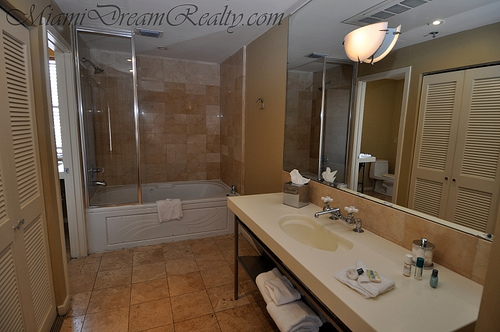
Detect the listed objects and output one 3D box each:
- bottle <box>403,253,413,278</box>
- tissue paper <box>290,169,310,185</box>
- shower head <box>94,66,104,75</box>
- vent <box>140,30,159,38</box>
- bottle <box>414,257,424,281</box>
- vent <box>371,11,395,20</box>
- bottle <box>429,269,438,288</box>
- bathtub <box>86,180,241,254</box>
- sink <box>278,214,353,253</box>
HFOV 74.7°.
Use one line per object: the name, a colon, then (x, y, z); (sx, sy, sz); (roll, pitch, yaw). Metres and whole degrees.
bottle: (1.068, 0.652, 2.189); (0.125, 0.143, 0.050); (-10, 14, -41)
tissue paper: (0.471, 0.102, 3.169); (0.125, 0.070, 0.165); (13, 15, 37)
shower head: (-1.807, -1.146, 3.926); (0.085, 0.081, 0.030); (-25, 10, 0)
vent: (-1.203, -1.606, 3.974); (0.213, 0.032, 0.178); (-3, 9, -13)
bottle: (1.126, 0.663, 2.174); (0.056, 0.145, 0.131); (5, 11, 28)
vent: (1.021, -1.158, 2.506); (0.007, 0.065, 0.181); (-8, 12, -32)
bottle: (1.176, 0.713, 2.100); (0.042, 0.118, 0.044); (-1, 11, 0)
bathtub: (-1.225, 0.534, 4.799); (1.965, 0.817, 1.177); (-4, 10, -18)
sink: (0.548, 0.564, 2.695); (0.261, 0.205, 0.656); (-10, 13, -42)
